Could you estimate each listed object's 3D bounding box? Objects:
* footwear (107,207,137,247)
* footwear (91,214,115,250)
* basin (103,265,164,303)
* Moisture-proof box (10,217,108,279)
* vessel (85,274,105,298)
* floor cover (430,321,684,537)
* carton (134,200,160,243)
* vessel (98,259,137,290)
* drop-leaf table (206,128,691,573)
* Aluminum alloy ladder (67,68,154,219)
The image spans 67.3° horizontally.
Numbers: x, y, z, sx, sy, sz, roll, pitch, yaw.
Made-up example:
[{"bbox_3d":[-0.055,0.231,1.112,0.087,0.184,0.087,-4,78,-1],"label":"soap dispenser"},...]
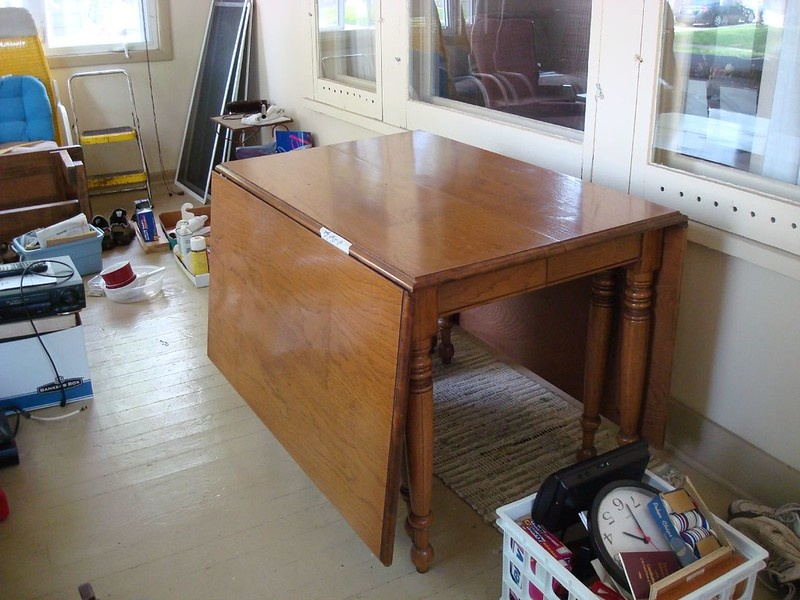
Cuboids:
[{"bbox_3d":[-1.887,-0.495,4.109,0.114,0.160,0.333,-5,26,-11],"label":"footwear"},{"bbox_3d":[-1.909,-0.429,3.881,0.091,0.106,0.277,-18,74,-28],"label":"footwear"},{"bbox_3d":[-1.499,-0.099,3.429,0.246,0.091,0.244,0,25,0],"label":"basin"},{"bbox_3d":[-1.912,-0.332,3.489,0.489,0.255,0.357,-17,32,-30],"label":"Moisture-proof box"},{"bbox_3d":[-1.751,-0.071,3.460,0.137,0.096,0.134,-11,20,-39],"label":"vessel"},{"bbox_3d":[0.550,0.449,2.050,0.365,0.015,0.681,-17,32,-22],"label":"floor cover"},{"bbox_3d":[-1.736,-0.529,4.136,0.096,0.255,0.273,-12,41,-12],"label":"carton"},{"bbox_3d":[-1.584,-0.140,3.388,0.156,0.102,0.146,-21,32,-38],"label":"vessel"},{"bbox_3d":[0.186,-0.025,2.080,1.255,1.010,1.796,-13,29,-27],"label":"drop-leaf table"},{"bbox_3d":[-2.236,-1.242,4.654,0.521,0.983,0.734,-14,29,-20],"label":"Aluminum alloy ladder"}]
